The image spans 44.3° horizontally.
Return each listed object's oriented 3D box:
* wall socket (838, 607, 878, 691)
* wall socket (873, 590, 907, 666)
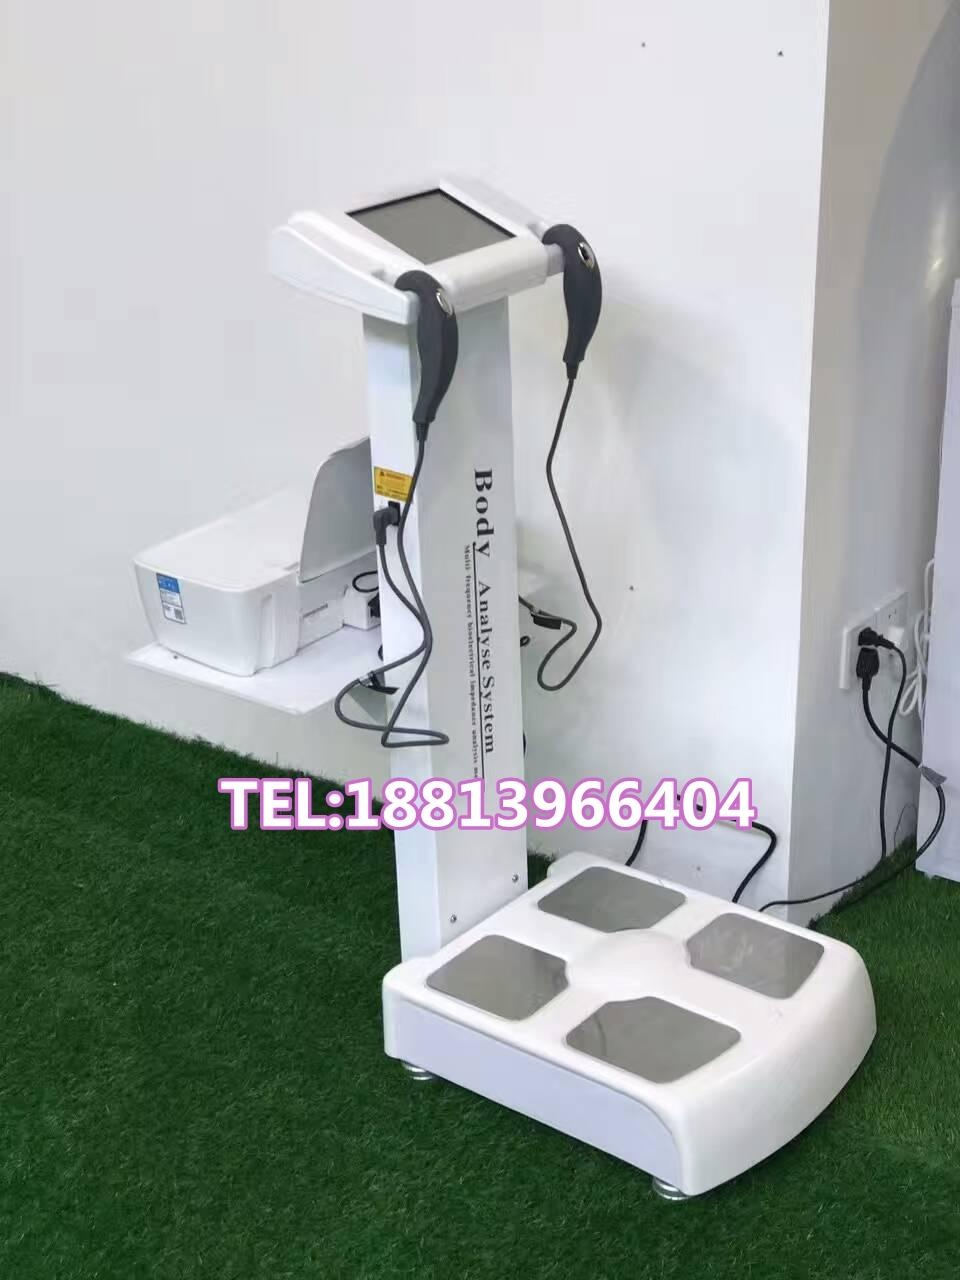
[{"bbox_3d":[0.590,0.015,1.872,0.024,0.103,0.097,10,12,28],"label":"wall socket"},{"bbox_3d":[0.678,-0.021,1.957,0.010,0.095,0.084,10,34,39],"label":"wall socket"}]
